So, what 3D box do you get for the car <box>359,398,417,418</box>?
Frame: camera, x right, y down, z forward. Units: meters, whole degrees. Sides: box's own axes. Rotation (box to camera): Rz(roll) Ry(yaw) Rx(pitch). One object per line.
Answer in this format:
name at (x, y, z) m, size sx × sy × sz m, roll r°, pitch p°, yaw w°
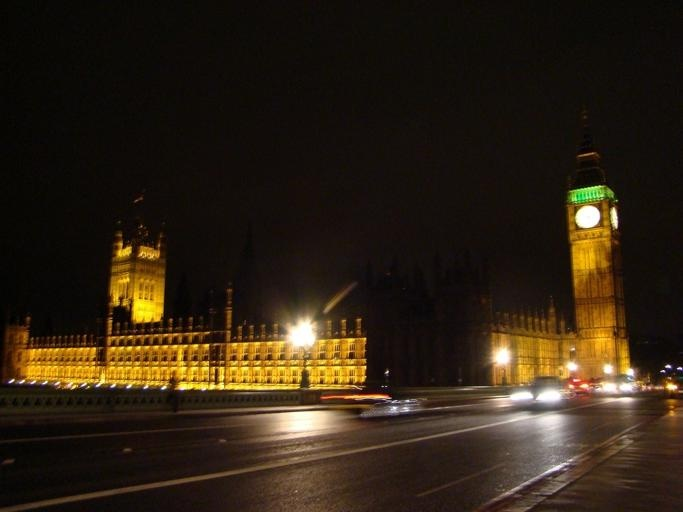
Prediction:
car at (2.707, 7.087, 31.374) m, size 4.357 × 1.073 × 0.869 m, roll 11°, pitch -3°, yaw -42°
